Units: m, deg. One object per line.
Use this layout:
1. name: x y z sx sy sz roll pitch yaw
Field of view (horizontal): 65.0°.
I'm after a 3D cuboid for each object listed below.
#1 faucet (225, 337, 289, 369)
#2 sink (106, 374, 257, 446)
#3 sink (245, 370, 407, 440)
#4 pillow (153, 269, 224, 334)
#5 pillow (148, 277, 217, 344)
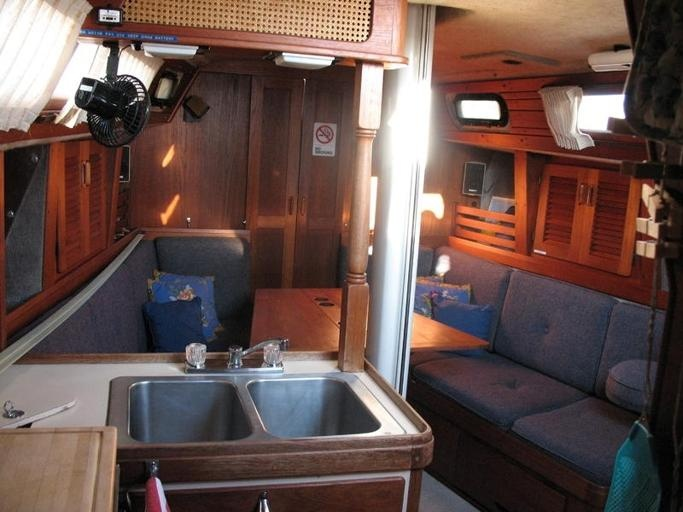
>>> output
1. faucet: -0.323 0.363 2.070 0.235 0.102 0.111 0 8 -8
2. sink: -0.549 0.523 1.833 0.326 0.196 0.325 13 2 1
3. sink: -0.099 0.562 1.913 0.345 0.211 0.313 2 8 -17
4. pillow: -1.068 0.351 3.767 0.137 0.445 0.457 -23 -16 32
5. pillow: -1.069 0.366 3.761 0.468 0.445 0.140 2 -2 -35
